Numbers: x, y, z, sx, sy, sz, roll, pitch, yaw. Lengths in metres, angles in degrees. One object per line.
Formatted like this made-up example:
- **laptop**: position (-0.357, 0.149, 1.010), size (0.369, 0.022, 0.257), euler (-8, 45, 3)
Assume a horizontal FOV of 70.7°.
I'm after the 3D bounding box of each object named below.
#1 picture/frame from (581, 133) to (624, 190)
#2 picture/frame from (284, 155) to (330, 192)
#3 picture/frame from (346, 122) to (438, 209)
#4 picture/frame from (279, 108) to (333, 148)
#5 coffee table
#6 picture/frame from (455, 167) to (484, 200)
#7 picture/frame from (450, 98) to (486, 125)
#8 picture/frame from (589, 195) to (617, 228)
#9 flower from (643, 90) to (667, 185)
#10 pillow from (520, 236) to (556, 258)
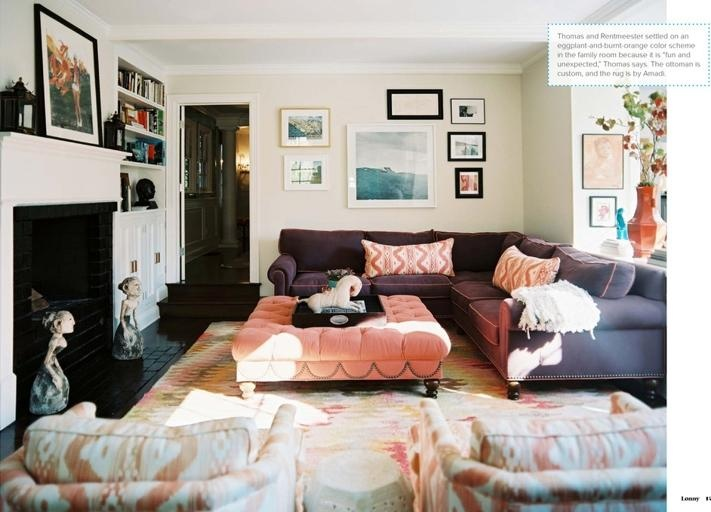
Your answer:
- **picture/frame**: position (2.444, -0.955, 4.973), size (0.543, 0.732, 0.030), euler (0, 0, -2)
- **picture/frame**: position (-0.606, -1.011, 6.069), size (0.435, 0.370, 0.033), euler (0, 1, -4)
- **picture/frame**: position (0.407, -1.138, 6.085), size (1.010, 0.898, 0.068), euler (0, 0, -4)
- **picture/frame**: position (-0.618, -1.553, 6.032), size (0.466, 0.353, 0.016), euler (0, 0, -4)
- **coffee table**: position (-0.102, 0.701, 3.883), size (1.533, 0.556, 0.729), euler (-1, 11, -1)
- **picture/frame**: position (1.393, -0.900, 6.121), size (0.355, 0.404, 0.027), euler (0, 6, -1)
- **picture/frame**: position (1.359, -1.759, 6.052), size (0.307, 0.235, 0.012), euler (0, 11, -2)
- **picture/frame**: position (2.480, -0.455, 5.014), size (0.321, 0.395, 0.026), euler (-1, 2, -3)
- **flower**: position (2.373, -0.917, 3.945), size (0.162, 0.711, 0.513), euler (6, 13, 30)
- **pillow**: position (1.769, -0.073, 4.796), size (0.081, 0.218, 0.214), euler (13, -20, -29)
